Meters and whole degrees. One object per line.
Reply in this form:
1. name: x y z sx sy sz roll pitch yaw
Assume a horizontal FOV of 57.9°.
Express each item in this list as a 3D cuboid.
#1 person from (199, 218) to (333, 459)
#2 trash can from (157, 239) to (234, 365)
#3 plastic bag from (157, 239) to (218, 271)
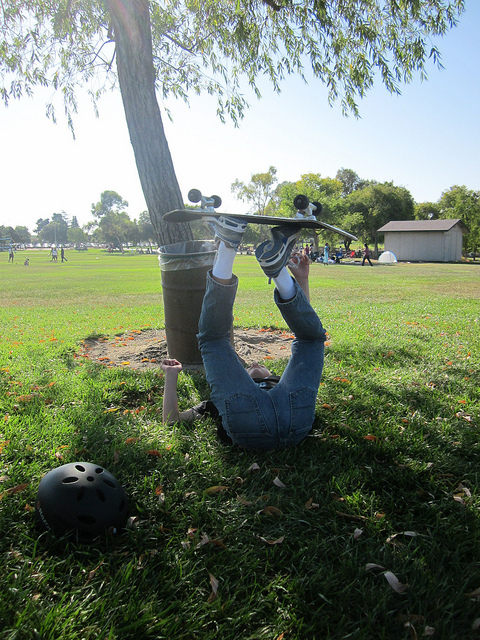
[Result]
1. person: 0.121 0.241 3.010 0.931 1.760 0.427 2 -7 -6
2. trash can: -0.518 -0.170 5.416 0.815 1.282 0.789 -8 11 -38
3. plastic bag: -0.594 -0.752 5.266 0.670 0.300 0.816 3 10 13
